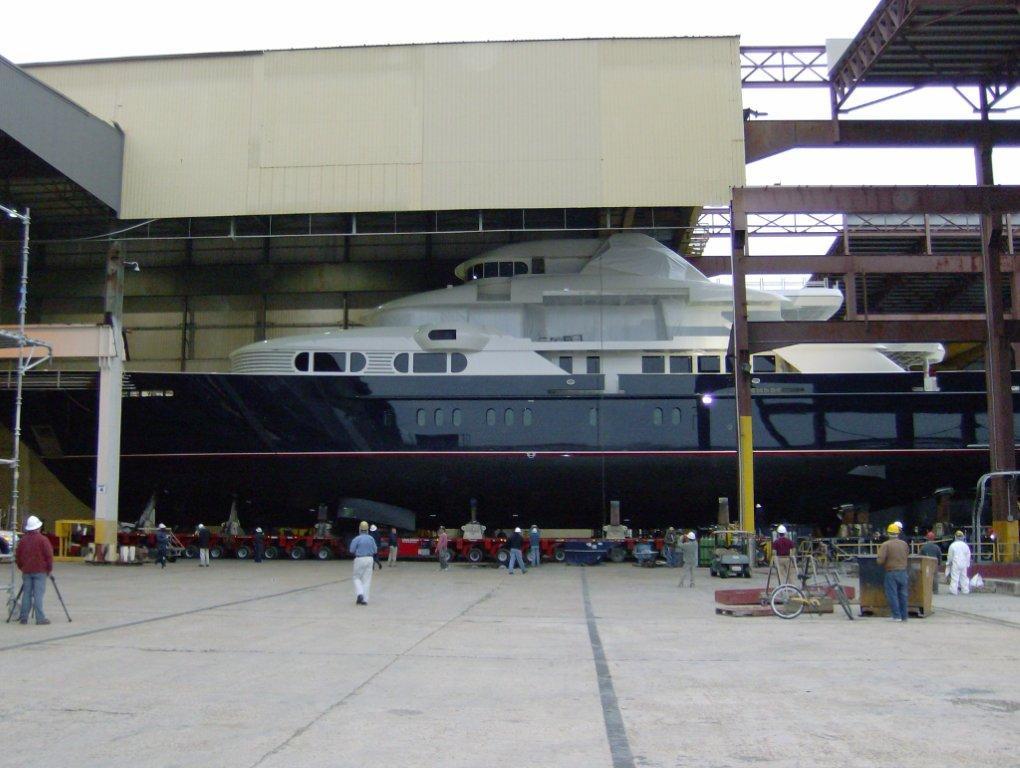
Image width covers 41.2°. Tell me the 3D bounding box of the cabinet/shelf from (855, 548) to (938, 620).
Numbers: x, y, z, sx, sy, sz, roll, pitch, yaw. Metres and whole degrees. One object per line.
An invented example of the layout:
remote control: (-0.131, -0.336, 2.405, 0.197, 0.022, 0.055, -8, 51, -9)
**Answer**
cabinet/shelf: (7.939, 4.151, 27.932, 1.416, 1.241, 1.103, -3, -12, 22)

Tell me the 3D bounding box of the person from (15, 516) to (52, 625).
person: (-9.400, 3.658, 26.849, 0.670, 2.066, 1.328, 0, -7, -19)

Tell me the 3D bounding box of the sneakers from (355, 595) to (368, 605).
sneakers: (-3.155, 4.581, 29.042, 0.196, 0.215, 0.526, 1, -1, 0)

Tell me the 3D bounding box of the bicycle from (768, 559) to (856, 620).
bicycle: (6.319, 4.209, 27.956, 1.938, 1.107, 0.854, 0, -21, -8)

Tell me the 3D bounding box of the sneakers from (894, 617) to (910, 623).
sneakers: (7.830, 4.645, 27.010, 0.097, 0.120, 0.298, 1, 3, 43)

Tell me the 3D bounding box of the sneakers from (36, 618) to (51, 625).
sneakers: (-9.047, 4.563, 26.296, 0.325, 0.128, 0.113, 0, -3, -1)

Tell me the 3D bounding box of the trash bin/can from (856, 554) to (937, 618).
trash bin/can: (7.789, 4.105, 28.067, 1.382, 1.243, 1.064, -1, -4, 6)

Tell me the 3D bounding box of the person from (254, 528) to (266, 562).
person: (-7.599, 4.833, 41.350, 0.343, 1.061, 1.324, -1, -7, -11)

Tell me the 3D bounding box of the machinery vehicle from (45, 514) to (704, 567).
machinery vehicle: (-4.281, 4.729, 41.147, 16.892, 1.716, 2.028, 1, -14, -1)

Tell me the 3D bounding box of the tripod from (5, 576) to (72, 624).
tripod: (-9.599, 4.382, 27.610, 1.051, 1.393, 0.960, 2, -3, -8)
